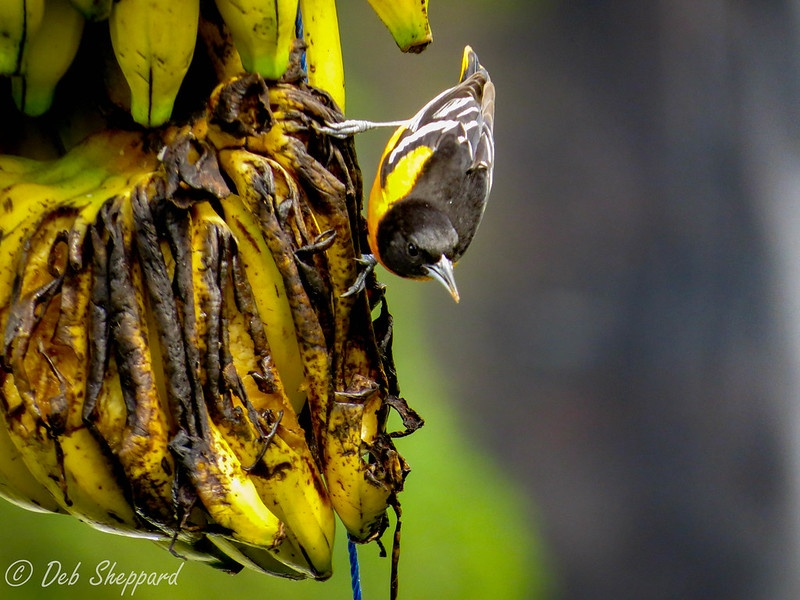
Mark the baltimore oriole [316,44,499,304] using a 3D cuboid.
[{"bbox_3d":[0.081,-0.199,2.242,0.233,0.450,0.232,17,6,-41],"label":"baltimore oriole"}]
